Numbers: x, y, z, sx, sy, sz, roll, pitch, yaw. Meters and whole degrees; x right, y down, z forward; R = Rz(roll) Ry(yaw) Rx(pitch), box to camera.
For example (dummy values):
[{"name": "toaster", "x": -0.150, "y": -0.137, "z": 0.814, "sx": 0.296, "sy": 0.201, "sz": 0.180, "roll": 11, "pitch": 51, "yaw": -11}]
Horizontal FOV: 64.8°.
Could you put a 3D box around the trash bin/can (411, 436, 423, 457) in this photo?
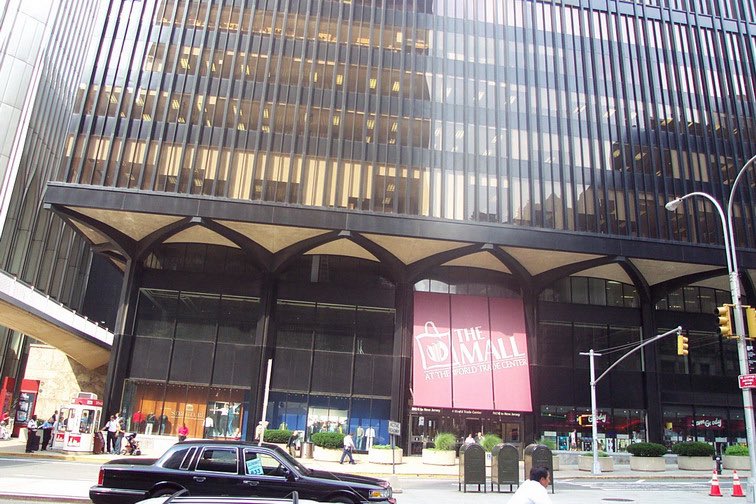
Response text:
[{"name": "trash bin/can", "x": 3.119, "y": 15.536, "z": 47.696, "sx": 0.979, "sy": 1.346, "sz": 0.497, "roll": 3, "pitch": -7, "yaw": -7}]

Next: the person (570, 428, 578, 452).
[{"name": "person", "x": 16.400, "y": 15.642, "z": 49.866, "sx": 0.675, "sy": 1.597, "sz": 0.179, "roll": 3, "pitch": -18, "yaw": -14}]

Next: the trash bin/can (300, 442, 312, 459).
[{"name": "trash bin/can", "x": -4.954, "y": 14.016, "z": 42.180, "sx": 1.071, "sy": 1.135, "sz": 1.042, "roll": 2, "pitch": -10, "yaw": -16}]
